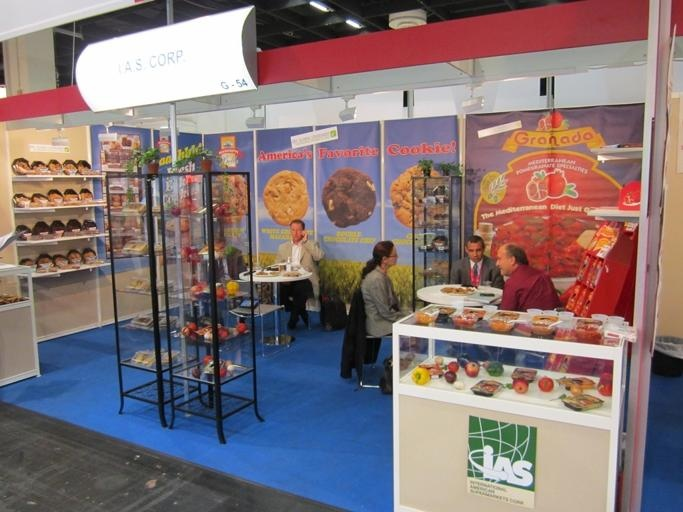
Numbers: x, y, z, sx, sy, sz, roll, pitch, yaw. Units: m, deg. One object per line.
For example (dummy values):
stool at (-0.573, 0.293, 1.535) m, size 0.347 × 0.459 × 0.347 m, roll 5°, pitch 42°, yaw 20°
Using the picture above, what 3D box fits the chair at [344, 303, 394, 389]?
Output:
chair at (0.308, 0.927, 5.861) m, size 0.602 × 1.139 × 0.685 m, roll 1°, pitch 13°, yaw 6°

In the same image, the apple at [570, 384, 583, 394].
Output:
apple at (1.498, 0.851, 3.351) m, size 0.063 × 0.058 × 0.064 m, roll -18°, pitch 5°, yaw -28°

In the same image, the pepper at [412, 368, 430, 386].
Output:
pepper at (0.556, 0.851, 3.750) m, size 0.129 × 0.114 × 0.133 m, roll -3°, pitch 4°, yaw 39°

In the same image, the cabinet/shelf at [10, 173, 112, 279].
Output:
cabinet/shelf at (-4.002, -0.448, 7.355) m, size 0.530 × 1.429 × 1.688 m, roll 0°, pitch 3°, yaw 25°

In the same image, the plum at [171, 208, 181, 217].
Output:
plum at (-1.503, -0.392, 4.760) m, size 0.089 × 0.076 × 0.084 m, roll -2°, pitch -3°, yaw 24°

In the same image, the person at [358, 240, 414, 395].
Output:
person at (0.526, 0.724, 6.025) m, size 0.720 × 1.665 × 0.571 m, roll 0°, pitch 13°, yaw 11°

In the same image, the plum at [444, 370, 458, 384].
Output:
plum at (0.754, 0.838, 3.631) m, size 0.094 × 0.091 × 0.081 m, roll -6°, pitch -2°, yaw -16°

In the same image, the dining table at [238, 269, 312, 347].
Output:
dining table at (-0.963, 0.705, 7.403) m, size 1.145 × 0.929 × 1.054 m, roll 0°, pitch 4°, yaw -6°

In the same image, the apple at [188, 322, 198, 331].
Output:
apple at (-1.391, 0.658, 4.894) m, size 0.082 × 0.067 × 0.075 m, roll 3°, pitch 9°, yaw -2°

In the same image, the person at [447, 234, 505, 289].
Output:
person at (1.775, 0.285, 6.832) m, size 0.718 × 0.972 × 0.555 m, roll 0°, pitch -5°, yaw 2°

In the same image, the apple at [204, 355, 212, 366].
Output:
apple at (-1.246, 0.975, 4.874) m, size 0.102 × 0.085 × 0.098 m, roll 2°, pitch -5°, yaw -7°

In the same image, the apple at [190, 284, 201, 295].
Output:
apple at (-1.327, 0.308, 4.770) m, size 0.104 × 0.088 × 0.032 m, roll 0°, pitch 12°, yaw 15°

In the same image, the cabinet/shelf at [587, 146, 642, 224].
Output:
cabinet/shelf at (3.146, -0.812, 6.021) m, size 0.486 × 0.891 × 1.466 m, roll 6°, pitch 13°, yaw 25°

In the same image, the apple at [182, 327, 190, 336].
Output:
apple at (-1.470, 0.711, 4.941) m, size 0.073 × 0.082 × 0.085 m, roll 11°, pitch 30°, yaw -27°

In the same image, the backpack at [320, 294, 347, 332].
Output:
backpack at (-0.130, 0.881, 7.965) m, size 0.418 × 0.504 × 0.311 m, roll 0°, pitch 13°, yaw 2°

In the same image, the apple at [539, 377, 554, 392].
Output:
apple at (1.343, 0.840, 3.476) m, size 0.100 × 0.087 × 0.098 m, roll -3°, pitch -1°, yaw 41°

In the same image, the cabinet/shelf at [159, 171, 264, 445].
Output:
cabinet/shelf at (-1.263, 0.467, 4.945) m, size 0.945 × 2.511 × 0.796 m, roll -1°, pitch 13°, yaw -1°

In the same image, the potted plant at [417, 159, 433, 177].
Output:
potted plant at (1.149, -1.229, 7.449) m, size 0.283 × 0.265 × 0.289 m, roll -2°, pitch 6°, yaw -10°

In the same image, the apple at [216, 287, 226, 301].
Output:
apple at (-1.093, 0.343, 4.742) m, size 0.108 × 0.096 × 0.102 m, roll 4°, pitch 11°, yaw 32°

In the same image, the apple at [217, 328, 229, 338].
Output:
apple at (-1.093, 0.709, 4.832) m, size 0.081 × 0.092 × 0.050 m, roll 28°, pitch -24°, yaw -28°

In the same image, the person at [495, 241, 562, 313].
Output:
person at (1.825, 0.226, 5.209) m, size 0.571 × 0.718 × 0.599 m, roll 5°, pitch 30°, yaw 30°

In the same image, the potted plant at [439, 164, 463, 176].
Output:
potted plant at (1.520, -1.233, 7.418) m, size 0.261 × 0.181 × 0.280 m, roll -6°, pitch 10°, yaw -39°

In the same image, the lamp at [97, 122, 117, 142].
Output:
lamp at (-3.586, -1.894, 8.011) m, size 0.281 × 0.240 × 0.290 m, roll -6°, pitch 11°, yaw -39°

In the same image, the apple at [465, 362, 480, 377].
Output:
apple at (0.899, 0.780, 3.614) m, size 0.105 × 0.089 × 0.102 m, roll 4°, pitch -3°, yaw -29°

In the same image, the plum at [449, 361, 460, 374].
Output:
plum at (0.778, 0.763, 3.596) m, size 0.081 × 0.082 × 0.076 m, roll -1°, pitch -1°, yaw -19°
